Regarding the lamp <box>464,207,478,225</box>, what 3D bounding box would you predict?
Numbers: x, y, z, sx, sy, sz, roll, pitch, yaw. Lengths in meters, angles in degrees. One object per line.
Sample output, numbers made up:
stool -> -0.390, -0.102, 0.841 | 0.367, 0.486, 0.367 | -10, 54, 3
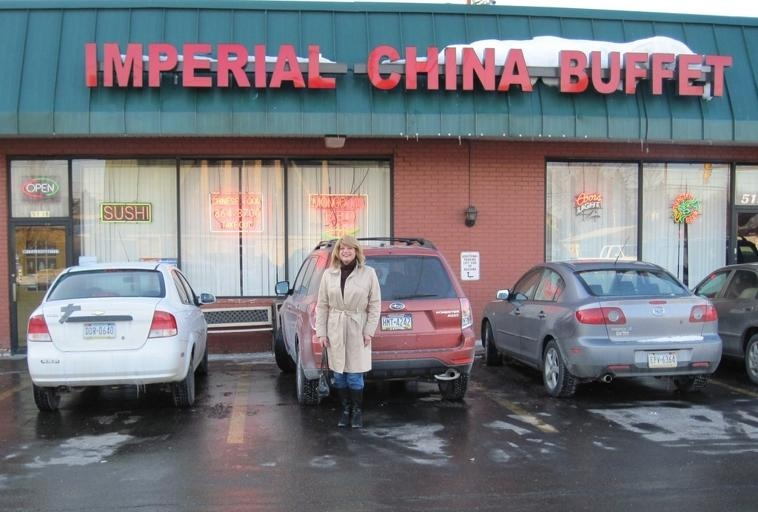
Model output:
lamp -> 2.088, -0.896, 16.467 | 0.320, 0.466, 0.245 | -1, 10, -4

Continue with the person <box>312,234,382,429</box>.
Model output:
person -> -0.472, 1.091, 10.587 | 0.887, 2.736, 0.521 | 3, 10, 20

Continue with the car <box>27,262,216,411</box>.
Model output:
car -> -4.067, 1.364, 11.367 | 2.569, 2.319, 1.740 | -4, 10, -22

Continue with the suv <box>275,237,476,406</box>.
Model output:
suv -> -0.054, 0.887, 12.374 | 2.131, 1.746, 3.538 | 0, 4, -12
